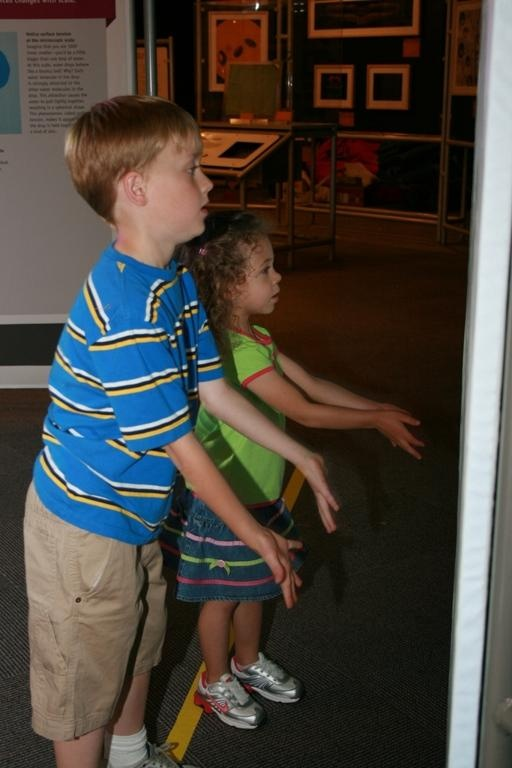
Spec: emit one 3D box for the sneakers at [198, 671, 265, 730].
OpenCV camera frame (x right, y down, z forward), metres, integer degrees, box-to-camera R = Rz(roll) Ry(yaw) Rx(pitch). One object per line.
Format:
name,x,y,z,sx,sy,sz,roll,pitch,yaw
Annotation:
sneakers,-0.078,0.895,1.780,0.226,0.101,0.097,11,16,38

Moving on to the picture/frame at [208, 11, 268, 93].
picture/frame,-0.189,-3.937,7.302,1.001,1.132,0.087,4,21,8

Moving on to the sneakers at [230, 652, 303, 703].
sneakers,0.025,0.881,1.854,0.221,0.105,0.077,23,35,10
